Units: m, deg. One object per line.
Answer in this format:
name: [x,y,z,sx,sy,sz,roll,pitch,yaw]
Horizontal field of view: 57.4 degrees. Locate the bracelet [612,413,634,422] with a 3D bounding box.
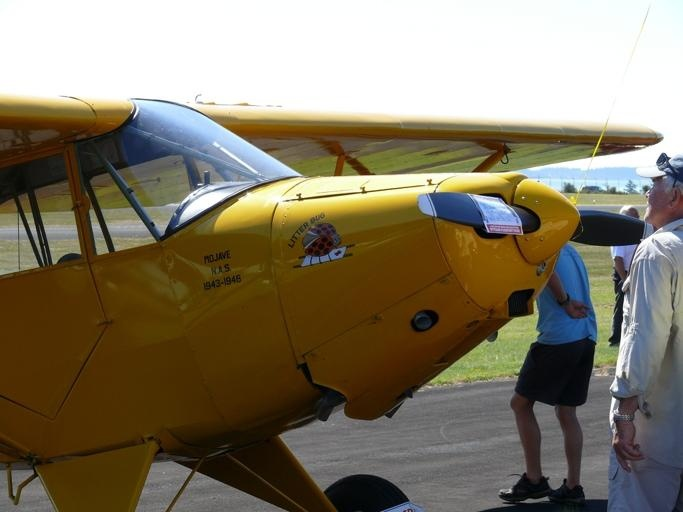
bracelet: [1.441,0.832,3.200,0.086,0.019,0.061,2,-6,15]

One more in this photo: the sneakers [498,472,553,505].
sneakers: [1.379,1.784,4.767,0.568,0.165,0.167,-3,-1,-1]
